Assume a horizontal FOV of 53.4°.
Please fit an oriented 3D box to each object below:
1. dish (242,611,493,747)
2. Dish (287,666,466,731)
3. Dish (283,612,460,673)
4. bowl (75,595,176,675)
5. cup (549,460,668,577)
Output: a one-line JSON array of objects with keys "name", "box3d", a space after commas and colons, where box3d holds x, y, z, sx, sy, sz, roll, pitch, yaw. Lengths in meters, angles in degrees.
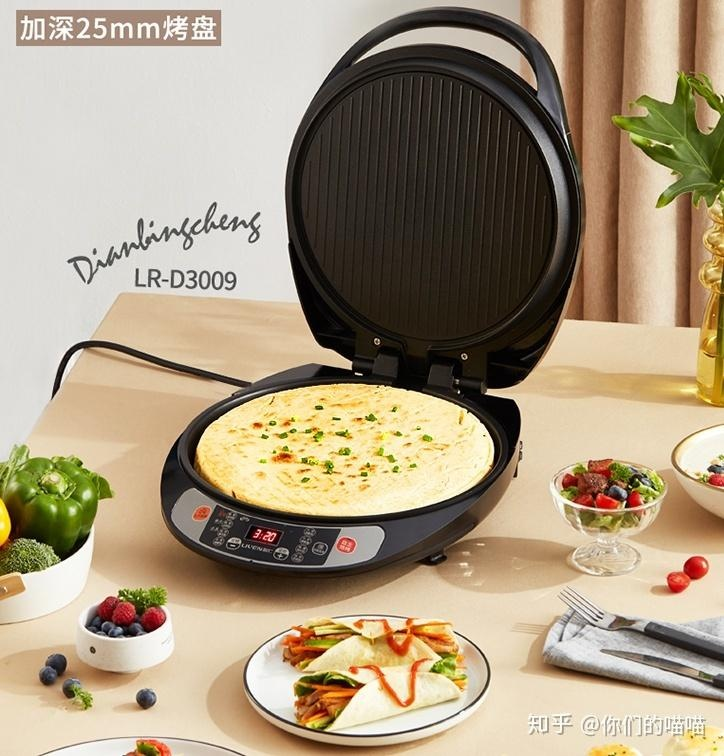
[{"name": "dish", "box3d": [0.003, 0.212, 0.519, 0.103, 0.009, 0.091, -4, 18, -11]}, {"name": "Dish", "box3d": [0.008, 0.228, 0.516, 0.096, 0.024, 0.048, -6, 9, -12]}, {"name": "Dish", "box3d": [0.007, 0.207, 0.569, 0.103, 0.021, 0.054, 0, 13, 4]}, {"name": "bowl", "box3d": [-0.193, 0.206, 0.570, 0.069, 0.033, 0.062, 4, 15, 0]}, {"name": "cup", "box3d": [0.263, 0.152, 0.778, 0.133, 0.080, 0.123, -3, 12, 1]}]
